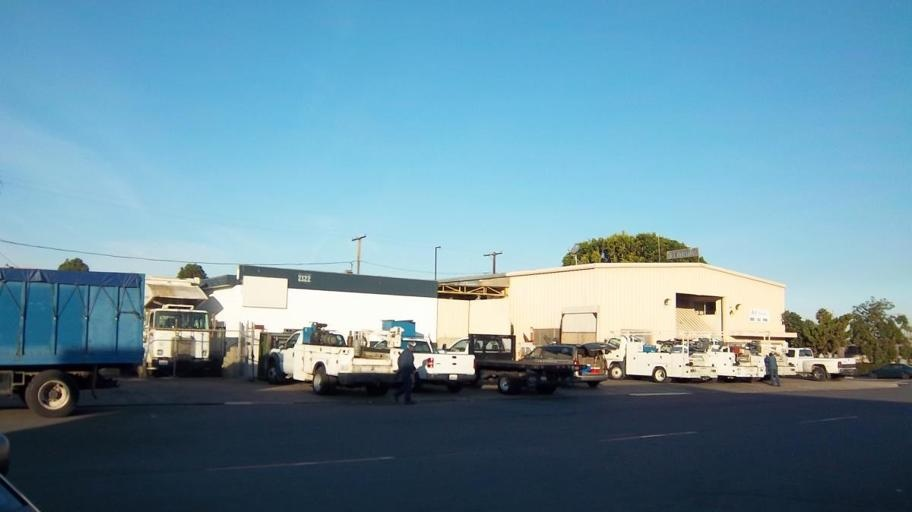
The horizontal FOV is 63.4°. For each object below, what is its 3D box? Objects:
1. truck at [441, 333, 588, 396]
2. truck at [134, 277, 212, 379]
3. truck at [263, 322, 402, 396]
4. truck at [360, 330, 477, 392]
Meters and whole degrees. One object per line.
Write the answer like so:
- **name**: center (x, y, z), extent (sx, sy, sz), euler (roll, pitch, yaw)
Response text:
- **truck**: center (2.771, 5.521, 36.509), extent (3.043, 2.058, 5.835), euler (3, -2, -33)
- **truck**: center (-18.306, 4.150, 45.072), extent (3.623, 5.618, 10.198), euler (6, -6, -41)
- **truck**: center (-5.559, 4.681, 34.038), extent (3.163, 2.390, 6.157), euler (5, -5, -38)
- **truck**: center (-1.754, 5.018, 35.949), extent (2.321, 1.885, 4.965), euler (3, -1, -42)
